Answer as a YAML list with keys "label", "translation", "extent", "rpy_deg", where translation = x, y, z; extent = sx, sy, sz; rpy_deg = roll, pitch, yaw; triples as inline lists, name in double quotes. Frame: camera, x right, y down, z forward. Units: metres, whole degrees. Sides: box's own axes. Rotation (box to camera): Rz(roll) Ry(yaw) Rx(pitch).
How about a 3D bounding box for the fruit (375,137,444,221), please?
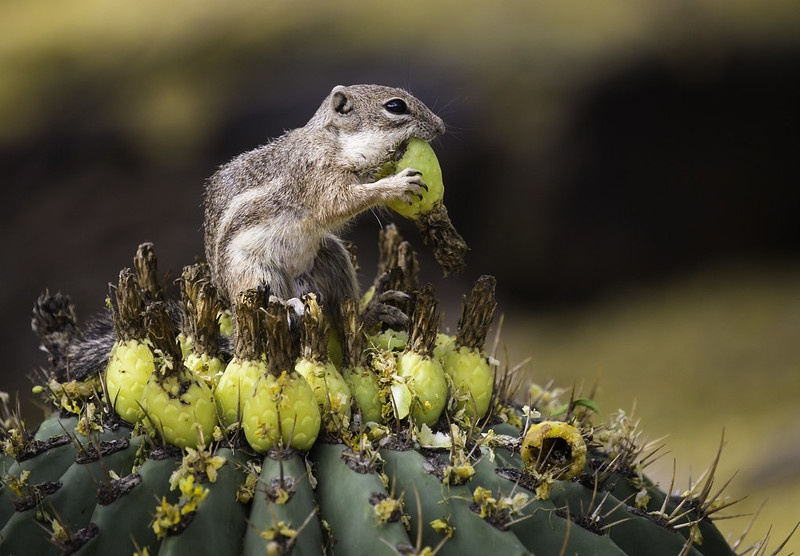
- label: "fruit"
  translation: [0.071, -0.441, 3.939]
  extent: [0.307, 0.384, 0.414]
  rpy_deg: [-16, 6, -19]
